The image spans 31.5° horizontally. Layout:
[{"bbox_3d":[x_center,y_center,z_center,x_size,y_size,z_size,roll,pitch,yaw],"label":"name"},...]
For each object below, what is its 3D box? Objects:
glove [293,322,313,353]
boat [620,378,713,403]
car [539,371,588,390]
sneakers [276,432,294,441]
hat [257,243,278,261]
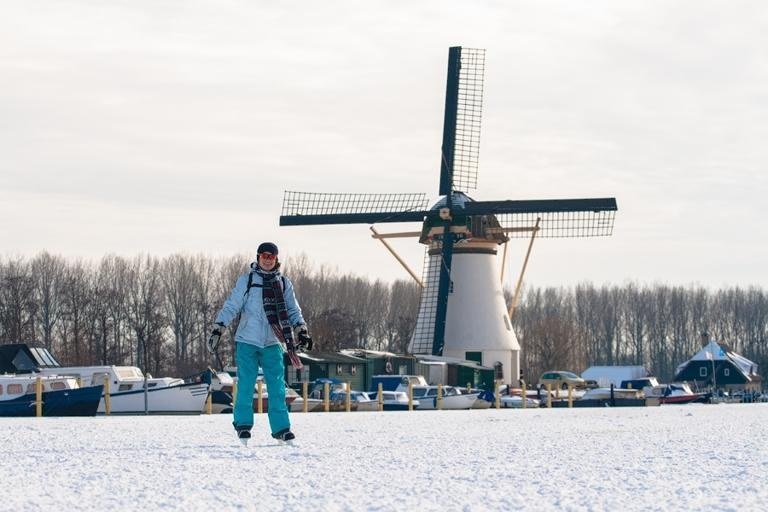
[{"bbox_3d":[-2.352,2.403,40.362,0.638,0.858,0.357,8,2,-2],"label":"glove"},{"bbox_3d":[16.248,7.650,77.798,4.069,1.564,11.316,0,-6,10],"label":"boat"},{"bbox_3d":[11.403,7.750,85.212,2.740,1.151,6.577,1,-6,2],"label":"car"},{"bbox_3d":[-2.830,5.249,39.639,0.560,0.253,0.246,2,-3,17],"label":"sneakers"},{"bbox_3d":[-3.213,-0.123,37.761,0.425,0.325,0.572,2,-23,-7],"label":"hat"}]
